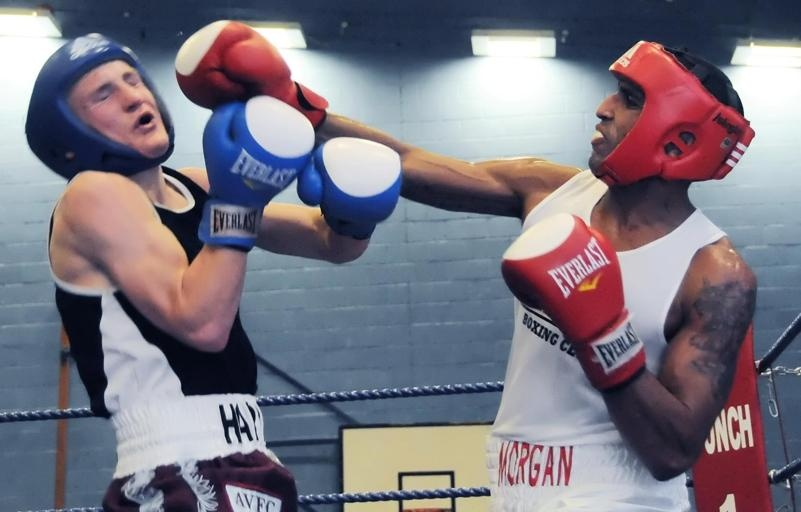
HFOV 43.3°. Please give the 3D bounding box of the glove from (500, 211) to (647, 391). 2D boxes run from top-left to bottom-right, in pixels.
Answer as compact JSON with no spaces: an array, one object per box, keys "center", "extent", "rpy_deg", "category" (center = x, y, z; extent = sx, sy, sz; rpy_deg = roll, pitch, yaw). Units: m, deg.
[{"center":[0.828,0.252,4.879],"extent":[0.580,0.297,0.805],"rpy_deg":[-40,83,-11],"category":"glove"}]
